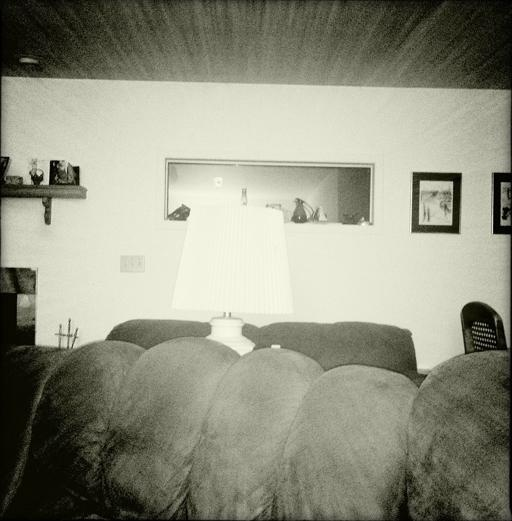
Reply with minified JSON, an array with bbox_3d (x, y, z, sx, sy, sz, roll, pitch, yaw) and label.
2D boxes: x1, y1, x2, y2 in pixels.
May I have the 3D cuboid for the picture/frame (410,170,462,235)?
[{"bbox_3d":[1.242,-0.403,3.253,0.325,0.472,0.018,5,39,27],"label":"picture/frame"}]
